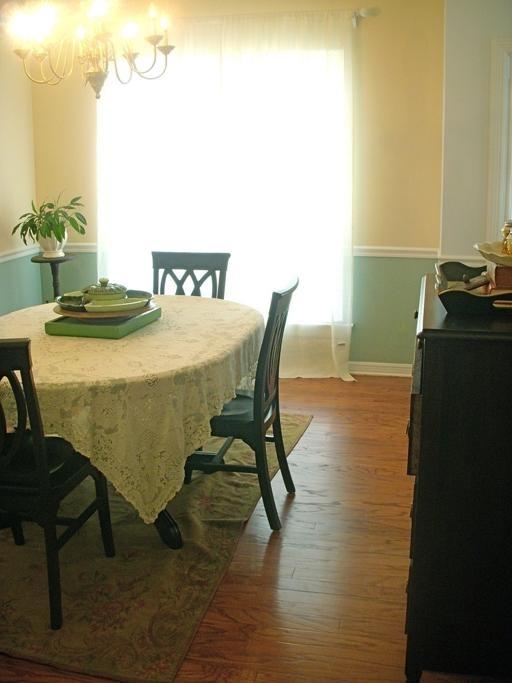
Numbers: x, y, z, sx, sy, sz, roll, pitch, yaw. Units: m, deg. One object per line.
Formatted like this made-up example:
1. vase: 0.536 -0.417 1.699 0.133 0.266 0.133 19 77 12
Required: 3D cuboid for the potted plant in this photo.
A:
1. potted plant: -1.378 -0.735 3.870 0.510 0.365 0.502 -3 26 0
